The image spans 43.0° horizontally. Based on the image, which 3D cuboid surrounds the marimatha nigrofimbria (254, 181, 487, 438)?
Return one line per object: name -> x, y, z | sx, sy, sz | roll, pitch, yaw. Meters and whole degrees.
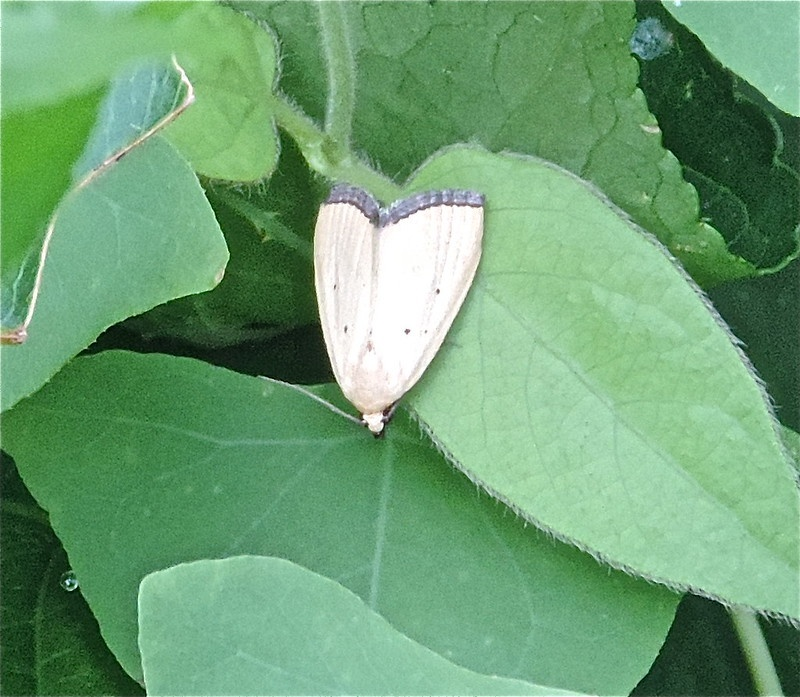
marimatha nigrofimbria -> -0.010, -0.049, 1.412 | 0.241, 0.087, 0.308 | 4, 88, 15
